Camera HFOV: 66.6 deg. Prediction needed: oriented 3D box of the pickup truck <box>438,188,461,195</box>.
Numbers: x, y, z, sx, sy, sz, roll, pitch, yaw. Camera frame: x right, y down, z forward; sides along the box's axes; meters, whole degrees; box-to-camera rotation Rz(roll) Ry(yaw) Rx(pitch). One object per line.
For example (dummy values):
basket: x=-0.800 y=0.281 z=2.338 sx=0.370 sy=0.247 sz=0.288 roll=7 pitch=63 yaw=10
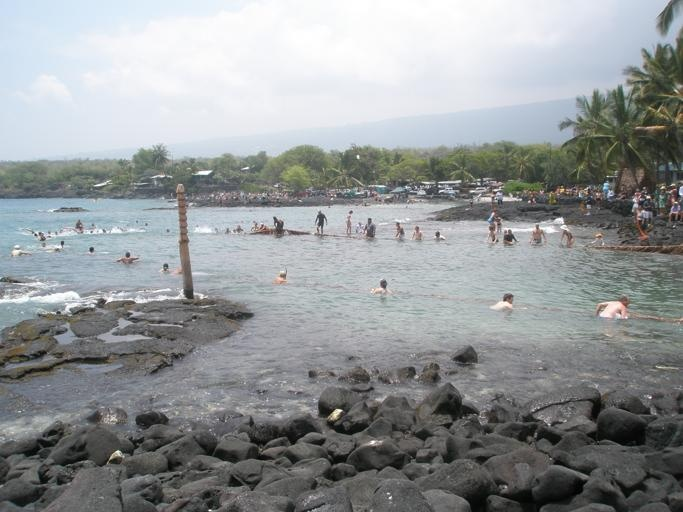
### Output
pickup truck: x=21.698 y=-13.119 z=106.870 sx=2.559 sy=1.230 sz=3.903 roll=4 pitch=8 yaw=13
